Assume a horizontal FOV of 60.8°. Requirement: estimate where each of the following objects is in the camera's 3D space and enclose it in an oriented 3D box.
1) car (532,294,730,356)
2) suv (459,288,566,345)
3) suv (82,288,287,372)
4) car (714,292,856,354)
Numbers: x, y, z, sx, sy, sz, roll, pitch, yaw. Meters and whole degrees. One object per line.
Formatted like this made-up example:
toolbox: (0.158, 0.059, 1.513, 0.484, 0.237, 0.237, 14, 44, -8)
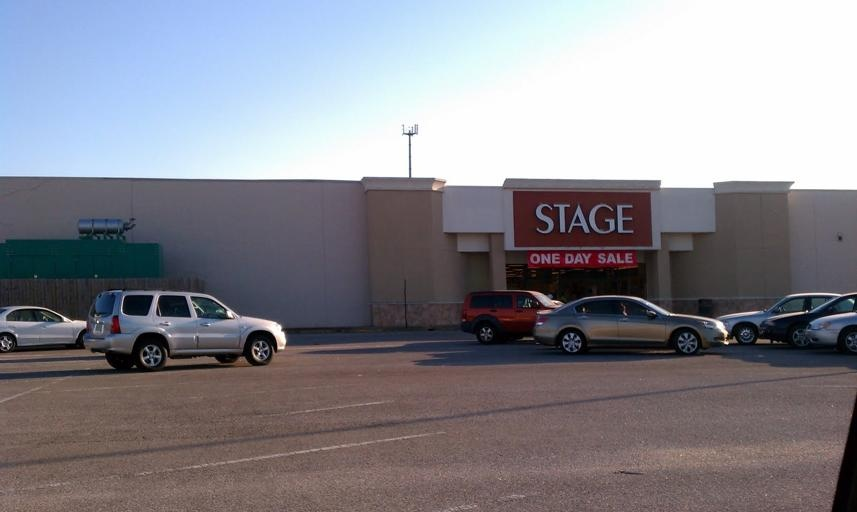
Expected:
car: (7.065, 2.423, 25.138, 5.702, 1.771, 2.409, -1, -4, 8)
suv: (3.449, 2.392, 30.370, 3.887, 1.546, 1.978, -3, 0, 4)
suv: (-7.393, 2.288, 22.698, 5.379, 2.020, 2.464, -1, -2, -29)
car: (13.842, 2.368, 27.230, 4.805, 1.573, 2.033, -1, -5, 9)
